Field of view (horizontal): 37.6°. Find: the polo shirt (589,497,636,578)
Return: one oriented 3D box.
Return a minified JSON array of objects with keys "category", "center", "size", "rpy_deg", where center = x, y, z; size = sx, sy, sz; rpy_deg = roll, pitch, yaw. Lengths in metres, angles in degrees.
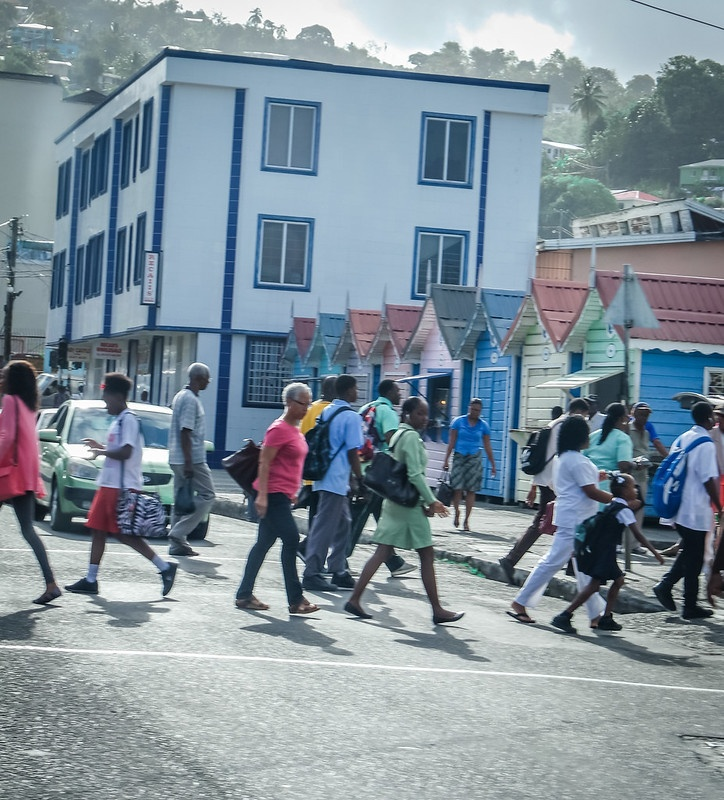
[{"category":"polo shirt","center":[1.956,1.102,8.321],"size":[0.221,0.619,0.410],"rpy_deg":[3,0,36]}]

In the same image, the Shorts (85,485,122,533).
[{"category":"Shorts","center":[-1.971,0.840,8.116],"size":[0.239,0.357,0.140],"rpy_deg":[3,0,-14]}]

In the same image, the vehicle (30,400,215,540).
[{"category":"vehicle","center":[-3.424,0.726,13.855],"size":[1.716,0.975,2.641],"rpy_deg":[3,-4,-24]}]

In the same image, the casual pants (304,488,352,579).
[{"category":"casual pants","center":[-0.304,1.170,9.419],"size":[0.387,0.293,0.993],"rpy_deg":[16,-33,-2]}]

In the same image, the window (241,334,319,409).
[{"category":"window","center":[-2.231,-0.832,27.913],"size":[2.801,2.129,0.095],"rpy_deg":[-4,0,-10]}]

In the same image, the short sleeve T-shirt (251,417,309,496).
[{"category":"short sleeve T-shirt","center":[-0.587,0.436,7.960],"size":[0.245,0.587,0.431],"rpy_deg":[3,0,13]}]

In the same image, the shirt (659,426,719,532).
[{"category":"shirt","center":[2.914,0.680,9.372],"size":[0.390,0.854,0.413],"rpy_deg":[3,0,-12]}]
